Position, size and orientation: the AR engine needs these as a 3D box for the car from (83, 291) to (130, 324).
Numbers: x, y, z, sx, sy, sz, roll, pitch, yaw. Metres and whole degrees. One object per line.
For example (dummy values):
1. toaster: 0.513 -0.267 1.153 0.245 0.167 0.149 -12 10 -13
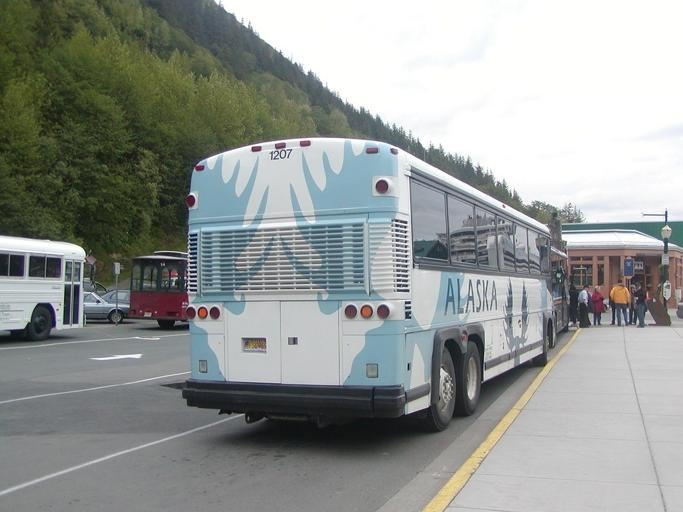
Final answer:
1. car: -13.675 3.051 30.900 2.956 1.295 1.516 -1 0 -4

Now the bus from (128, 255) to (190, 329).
1. bus: -9.118 1.578 27.043 3.061 3.127 0.969 -3 -4 24

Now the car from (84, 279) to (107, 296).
1. car: -17.409 2.210 38.016 0.981 0.988 1.679 2 6 11
